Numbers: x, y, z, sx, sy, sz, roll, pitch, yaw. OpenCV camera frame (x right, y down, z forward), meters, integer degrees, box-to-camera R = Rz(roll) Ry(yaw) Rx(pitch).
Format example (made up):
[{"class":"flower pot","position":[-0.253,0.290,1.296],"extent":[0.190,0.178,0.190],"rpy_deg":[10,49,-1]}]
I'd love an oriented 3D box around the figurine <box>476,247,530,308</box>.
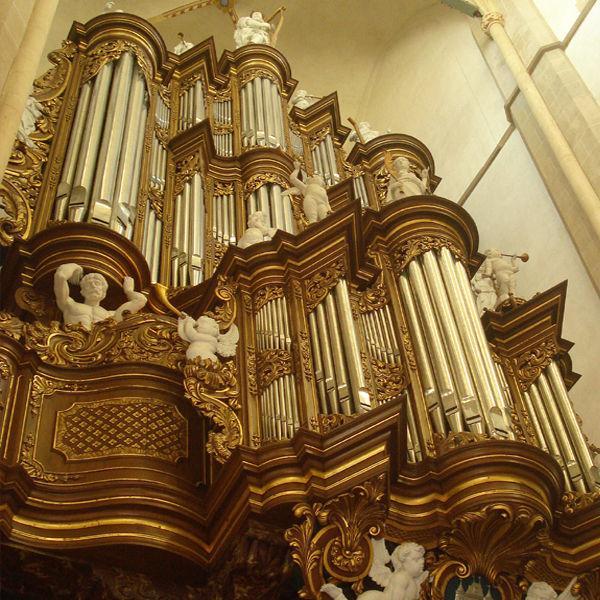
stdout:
[{"class":"figurine","position":[2.130,-0.212,7.989],"extent":[0.331,0.784,0.229],"rpy_deg":[-1,-63,12]}]

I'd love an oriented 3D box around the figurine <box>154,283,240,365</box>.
[{"class":"figurine","position":[-0.694,0.281,5.015],"extent":[0.525,0.440,0.258],"rpy_deg":[16,-43,-29]}]
